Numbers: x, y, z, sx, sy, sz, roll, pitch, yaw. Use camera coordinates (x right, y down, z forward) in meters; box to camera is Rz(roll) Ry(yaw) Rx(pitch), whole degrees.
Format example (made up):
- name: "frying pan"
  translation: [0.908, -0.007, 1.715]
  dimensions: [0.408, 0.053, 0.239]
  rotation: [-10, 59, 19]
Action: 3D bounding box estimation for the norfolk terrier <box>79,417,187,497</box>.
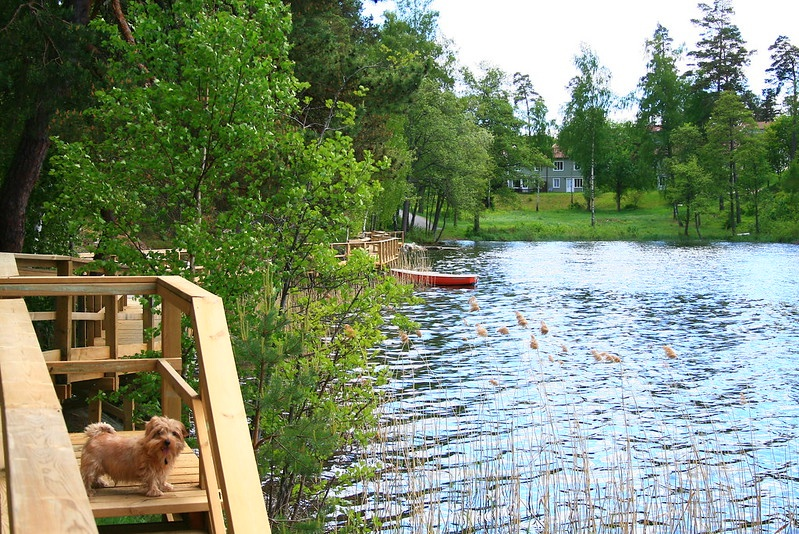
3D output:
- name: "norfolk terrier"
  translation: [-2.713, 1.912, 8.082]
  dimensions: [1.065, 0.756, 0.548]
  rotation: [-1, -2, 11]
